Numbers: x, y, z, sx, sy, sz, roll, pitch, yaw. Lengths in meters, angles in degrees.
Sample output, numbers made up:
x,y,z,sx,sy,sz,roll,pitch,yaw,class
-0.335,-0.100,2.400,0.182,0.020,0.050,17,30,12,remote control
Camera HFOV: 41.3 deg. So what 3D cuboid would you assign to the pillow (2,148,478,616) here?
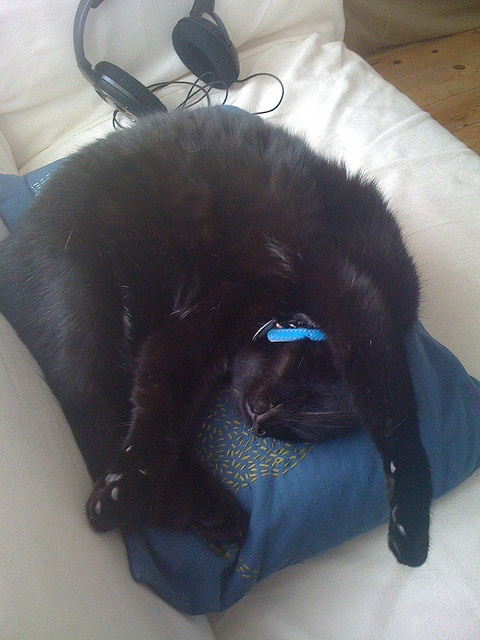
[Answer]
x,y,z,sx,sy,sz,roll,pitch,yaw,class
0.025,0.038,0.748,0.436,0.235,0.445,-20,49,-9,pillow
